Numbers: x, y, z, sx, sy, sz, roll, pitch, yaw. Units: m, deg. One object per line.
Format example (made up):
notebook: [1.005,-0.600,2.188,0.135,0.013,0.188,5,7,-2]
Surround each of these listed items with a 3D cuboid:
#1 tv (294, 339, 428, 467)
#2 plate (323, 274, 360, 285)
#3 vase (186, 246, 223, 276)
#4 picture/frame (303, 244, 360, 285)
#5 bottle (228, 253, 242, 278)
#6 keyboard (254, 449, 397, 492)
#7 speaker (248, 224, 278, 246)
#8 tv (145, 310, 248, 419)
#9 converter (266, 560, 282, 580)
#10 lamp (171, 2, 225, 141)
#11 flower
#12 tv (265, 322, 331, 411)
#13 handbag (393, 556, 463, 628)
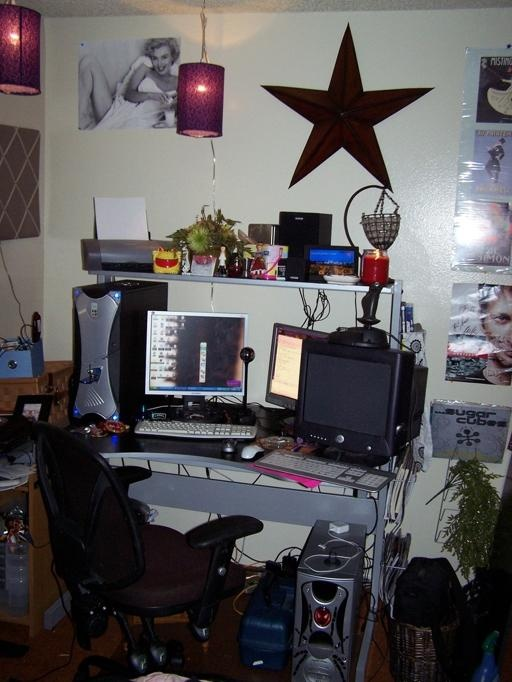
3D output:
tv: [0.406,0.170,2.080,0.406,0.425,0.414,5,7,36]
plate: [0.307,-0.220,2.034,0.125,0.034,0.082,3,8,7]
vase: [-0.197,-0.311,2.205,0.106,0.091,0.035,7,14,5]
picture/frame: [0.292,-0.250,2.099,0.229,0.167,0.124,1,0,7]
bottle: [-0.081,-0.296,2.195,0.075,0.109,0.076,1,-4,0]
keyboard: [0.216,0.416,1.809,0.416,0.029,0.189,5,8,21]
speaker: [0.025,-0.447,2.343,0.097,0.103,0.298,1,8,-7]
tv: [-0.242,0.084,2.243,0.404,0.432,0.141,2,3,-3]
converter: [0.060,0.893,2.192,0.045,0.081,0.043,0,6,27]
lamp: [-0.218,-1.101,2.273,0.179,0.547,0.344,2,7,-4]
flower: [-0.190,-0.420,2.326,0.247,0.159,0.248,1,8,-4]
tv: [0.161,0.102,2.133,0.123,0.354,0.347,8,-1,-26]
handbag: [0.610,0.882,1.991,0.246,0.273,0.142,10,-3,-3]
